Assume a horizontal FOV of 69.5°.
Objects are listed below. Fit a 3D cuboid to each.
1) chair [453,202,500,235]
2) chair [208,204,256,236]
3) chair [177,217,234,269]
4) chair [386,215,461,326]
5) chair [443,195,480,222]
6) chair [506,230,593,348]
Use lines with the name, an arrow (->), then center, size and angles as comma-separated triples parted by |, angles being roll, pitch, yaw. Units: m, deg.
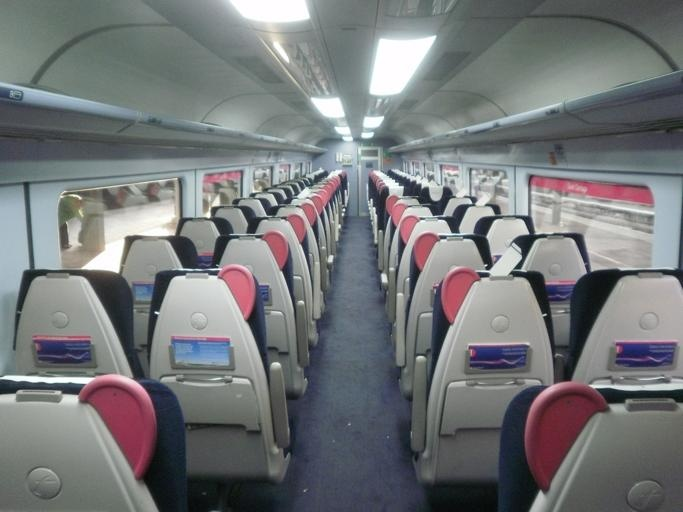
chair -> 1.858, -0.502, 6.736 | 0.515, 0.556, 0.301 | 2, 12, 4
chair -> -1.697, -0.619, 7.668 | 0.649, 0.729, 0.607 | 2, 6, 8
chair -> -1.712, -0.249, 6.033 | 0.700, 0.782, 0.698 | 1, 0, 6
chair -> 0.792, 0.128, 5.499 | 0.896, 1.468, 1.134 | 1, 6, 1
chair -> 1.959, -0.774, 8.053 | 0.318, 0.465, 0.650 | -6, 18, 36
chair -> 1.968, 0.254, 4.881 | 0.826, 1.298, 1.157 | 0, 7, 11
